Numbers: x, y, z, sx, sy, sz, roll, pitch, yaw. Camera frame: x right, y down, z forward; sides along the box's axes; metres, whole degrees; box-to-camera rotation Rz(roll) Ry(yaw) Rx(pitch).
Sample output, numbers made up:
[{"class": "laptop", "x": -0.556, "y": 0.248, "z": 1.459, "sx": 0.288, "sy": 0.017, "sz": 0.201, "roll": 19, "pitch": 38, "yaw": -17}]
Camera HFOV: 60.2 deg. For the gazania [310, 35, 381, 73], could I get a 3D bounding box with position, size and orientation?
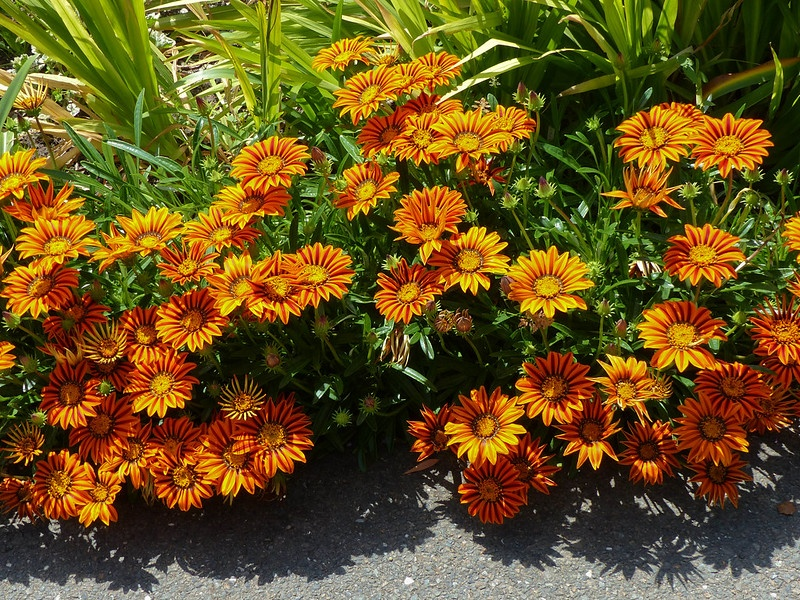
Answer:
[{"class": "gazania", "x": -0.223, "y": -0.876, "z": 2.559, "sx": 0.202, "sy": 0.054, "sz": 0.196, "roll": -39, "pitch": 36, "yaw": -15}]
